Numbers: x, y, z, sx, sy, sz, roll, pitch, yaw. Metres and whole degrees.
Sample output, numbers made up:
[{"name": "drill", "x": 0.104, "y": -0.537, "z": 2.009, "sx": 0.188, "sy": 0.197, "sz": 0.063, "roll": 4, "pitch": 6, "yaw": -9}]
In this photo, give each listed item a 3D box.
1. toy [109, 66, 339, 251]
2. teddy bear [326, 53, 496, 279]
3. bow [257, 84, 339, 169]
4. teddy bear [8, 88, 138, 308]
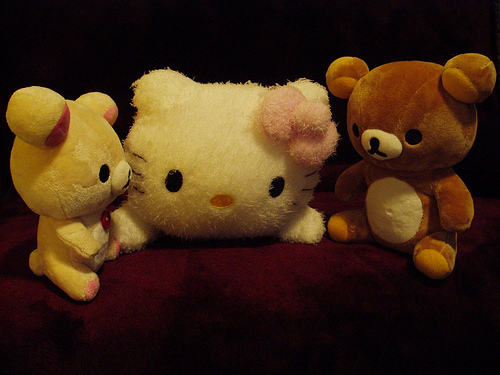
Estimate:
[{"name": "toy", "x": -0.087, "y": -0.133, "z": 1.778, "sx": 0.756, "sy": 0.637, "sz": 0.545, "roll": 4, "pitch": 22, "yaw": 1}, {"name": "teddy bear", "x": 0.428, "y": -0.101, "z": 1.567, "sx": 0.534, "sy": 0.574, "sz": 0.312, "roll": 26, "pitch": 45, "yaw": 29}, {"name": "bow", "x": 0.130, "y": -0.179, "z": 1.613, "sx": 0.193, "sy": 0.244, "sz": 0.128, "roll": -34, "pitch": 8, "yaw": -5}, {"name": "teddy bear", "x": -0.505, "y": -0.001, "z": 1.462, "sx": 0.261, "sy": 0.529, "sz": 0.360, "roll": 13, "pitch": 40, "yaw": 16}]
